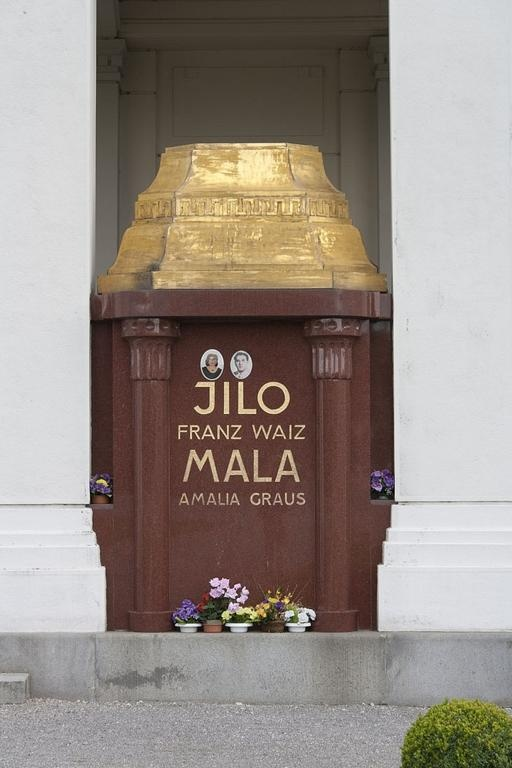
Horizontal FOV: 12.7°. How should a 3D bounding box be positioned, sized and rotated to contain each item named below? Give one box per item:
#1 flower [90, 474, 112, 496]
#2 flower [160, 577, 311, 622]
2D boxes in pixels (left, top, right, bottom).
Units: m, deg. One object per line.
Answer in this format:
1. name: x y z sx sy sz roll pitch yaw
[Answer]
1. flower: -1.482 0.963 21.526 0.243 0.300 0.147 1 -12 -6
2. flower: -0.163 2.062 21.278 0.804 0.362 0.608 0 -8 -11
